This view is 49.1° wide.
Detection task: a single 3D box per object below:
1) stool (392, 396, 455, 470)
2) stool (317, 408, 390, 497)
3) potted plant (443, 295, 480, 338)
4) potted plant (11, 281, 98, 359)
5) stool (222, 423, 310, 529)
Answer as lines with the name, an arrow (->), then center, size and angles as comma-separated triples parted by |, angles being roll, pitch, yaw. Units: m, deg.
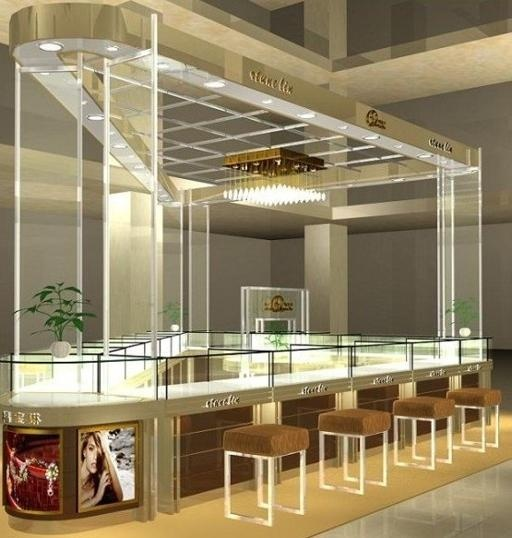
stool -> 1.643, 1.601, 5.541 | 0.517, 0.633, 0.519 | -2, -6, 26
stool -> 0.834, 1.521, 4.722 | 0.602, 0.617, 0.606 | 0, -7, 3
potted plant -> 2.968, 0.705, 8.355 | 0.508, 0.506, 0.508 | 1, -8, -2
potted plant -> -1.759, 0.457, 4.813 | 0.625, 0.610, 0.599 | 10, 9, 4
stool -> 0.072, 1.438, 3.955 | 0.633, 0.583, 0.636 | -1, -8, 1
